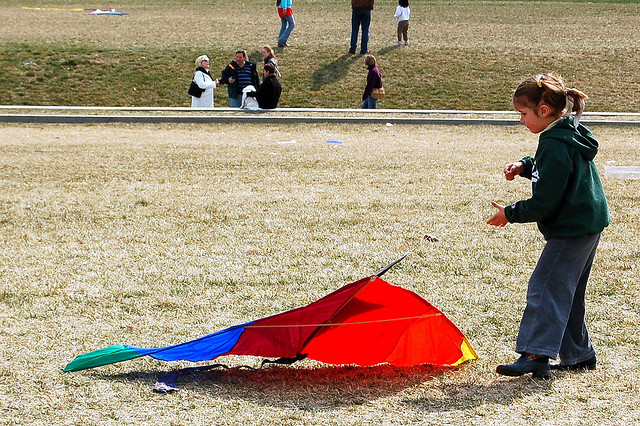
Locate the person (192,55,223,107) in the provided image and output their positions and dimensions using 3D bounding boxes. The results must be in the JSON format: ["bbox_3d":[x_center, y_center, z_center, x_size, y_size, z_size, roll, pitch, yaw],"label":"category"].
[{"bbox_3d":[-3.441,-3.931,44.341,0.813,1.713,0.931,-1,18,-1],"label":"person"}]

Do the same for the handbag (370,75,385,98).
[{"bbox_3d":[1.746,-3.771,45.349,0.461,0.654,0.248,1,30,-16],"label":"handbag"}]

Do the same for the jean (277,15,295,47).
[{"bbox_3d":[-1.211,-6.309,51.202,0.546,1.266,1.272,-1,18,-2],"label":"jean"}]

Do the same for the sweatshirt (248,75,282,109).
[{"bbox_3d":[-1.640,-3.630,44.433,0.849,1.134,0.479,-2,18,-4],"label":"sweatshirt"}]

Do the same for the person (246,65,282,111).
[{"bbox_3d":[-1.630,-3.758,44.325,0.850,1.489,0.607,-2,18,-6],"label":"person"}]

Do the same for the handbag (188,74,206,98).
[{"bbox_3d":[-3.789,-3.796,44.725,0.416,0.732,0.507,6,27,-38],"label":"handbag"}]

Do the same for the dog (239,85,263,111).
[{"bbox_3d":[-2.119,-3.441,44.405,0.552,0.741,0.316,2,5,0],"label":"dog"}]

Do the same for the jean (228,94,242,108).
[{"bbox_3d":[-2.559,-3.436,45.189,0.444,0.642,0.347,0,8,-3],"label":"jean"}]

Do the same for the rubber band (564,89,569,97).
[{"bbox_3d":[5.692,-2.791,34.529,0.143,0.141,0.063,2,10,4],"label":"rubber band"}]

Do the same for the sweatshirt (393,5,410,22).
[{"bbox_3d":[2.769,-6.802,50.516,0.537,0.441,0.668,-2,-4,0],"label":"sweatshirt"}]

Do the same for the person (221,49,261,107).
[{"bbox_3d":[-2.370,-3.972,44.924,1.227,1.983,0.993,-8,20,-14],"label":"person"}]
